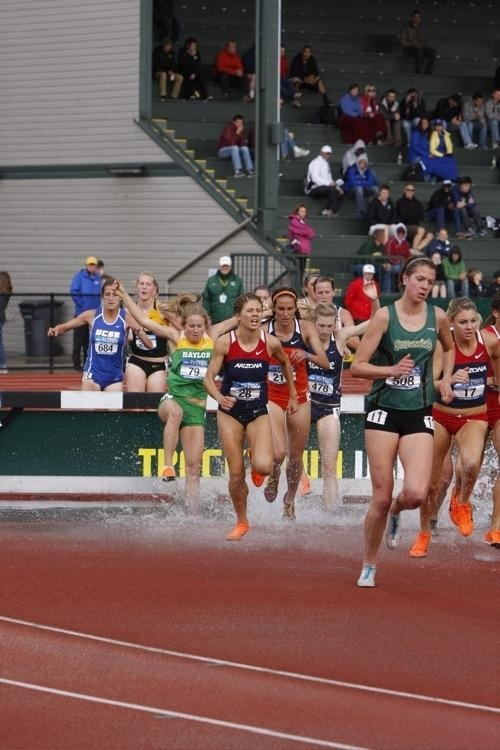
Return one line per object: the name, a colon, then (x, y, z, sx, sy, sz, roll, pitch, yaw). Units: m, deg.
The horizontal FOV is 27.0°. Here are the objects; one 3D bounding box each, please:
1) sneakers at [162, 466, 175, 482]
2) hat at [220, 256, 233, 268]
sneakers: (-0.669, 0.814, 8.607, 0.129, 0.146, 0.349, 0, -8, -6)
hat: (-0.301, -1.503, 13.735, 0.204, 0.141, 0.332, -1, 4, 4)
